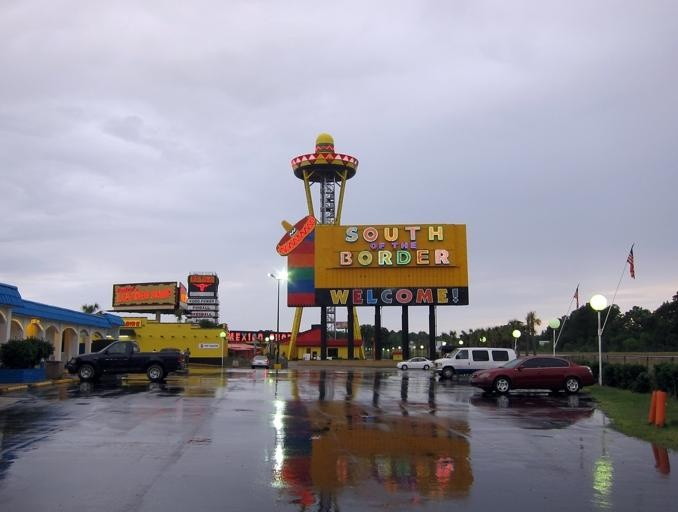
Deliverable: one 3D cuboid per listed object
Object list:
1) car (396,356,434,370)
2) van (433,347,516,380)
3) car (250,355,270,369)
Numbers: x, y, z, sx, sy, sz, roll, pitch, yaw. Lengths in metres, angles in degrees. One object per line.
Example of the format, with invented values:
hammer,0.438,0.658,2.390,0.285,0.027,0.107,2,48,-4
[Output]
car,6.603,9.378,60.805,2.491,0.964,1.222,1,-6,12
van,7.517,5.851,39.500,3.659,1.633,2.121,-3,-7,19
car,-6.905,9.675,62.414,1.261,1.051,2.979,0,-1,0
